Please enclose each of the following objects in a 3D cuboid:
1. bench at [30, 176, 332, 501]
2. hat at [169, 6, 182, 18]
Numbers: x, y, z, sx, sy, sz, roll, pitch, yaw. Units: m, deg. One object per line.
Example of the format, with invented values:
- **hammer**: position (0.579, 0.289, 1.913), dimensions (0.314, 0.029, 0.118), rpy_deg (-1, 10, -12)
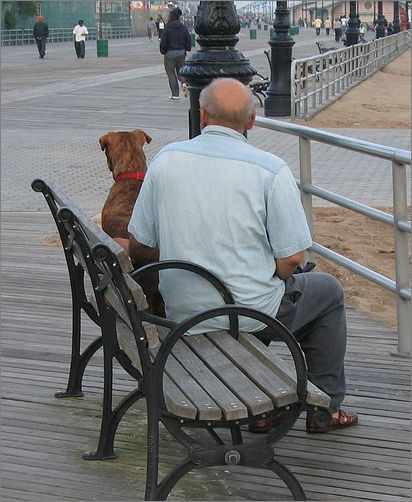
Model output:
- **bench**: position (-0.081, 0.338, 2.660), dimensions (0.506, 0.621, 1.108), rpy_deg (-4, 9, -16)
- **hat**: position (-0.734, -5.685, 18.368), dimensions (0.286, 0.374, 0.369), rpy_deg (1, 21, -7)
